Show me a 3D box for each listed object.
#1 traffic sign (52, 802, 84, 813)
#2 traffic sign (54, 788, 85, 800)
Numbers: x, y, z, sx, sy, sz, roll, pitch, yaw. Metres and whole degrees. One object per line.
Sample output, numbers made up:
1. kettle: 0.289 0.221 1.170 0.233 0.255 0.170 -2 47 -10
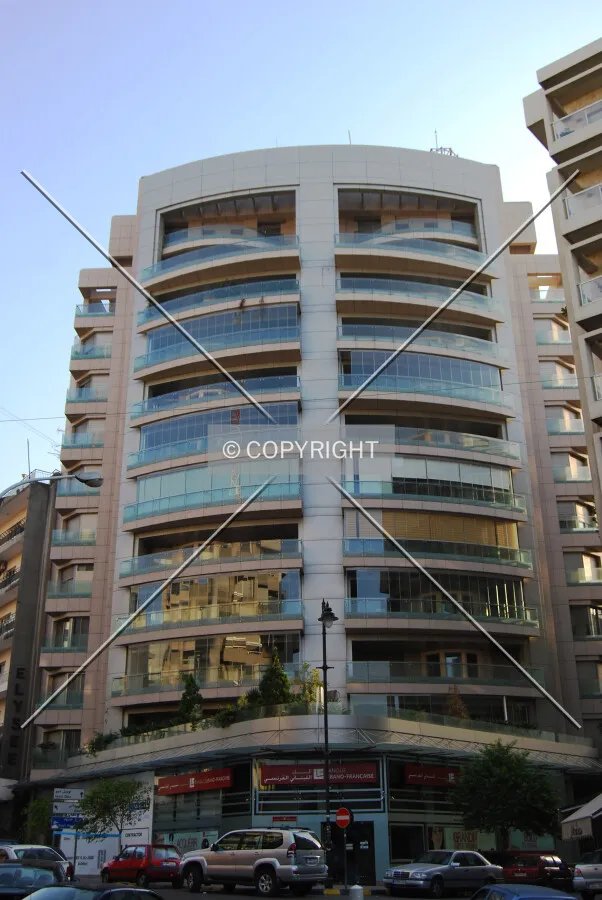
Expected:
1. traffic sign: -7.296 11.000 25.817 0.688 0.355 0.532 10 -26 -23
2. traffic sign: -7.347 10.895 26.524 1.120 0.346 0.761 18 -29 -37
